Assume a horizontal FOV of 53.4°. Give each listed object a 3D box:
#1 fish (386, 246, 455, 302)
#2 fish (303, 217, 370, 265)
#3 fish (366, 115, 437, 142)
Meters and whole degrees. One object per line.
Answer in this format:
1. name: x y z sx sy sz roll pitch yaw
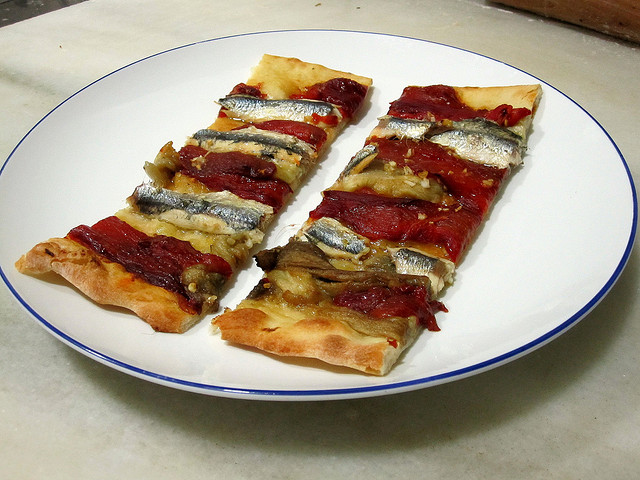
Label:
1. fish: 0.632 0.215 4.442 0.517 0.219 0.297 19 46 20
2. fish: 0.117 -0.002 4.571 0.459 0.092 0.280 30 51 30
3. fish: 0.666 -0.924 5.294 0.380 0.080 0.289 5 44 28
